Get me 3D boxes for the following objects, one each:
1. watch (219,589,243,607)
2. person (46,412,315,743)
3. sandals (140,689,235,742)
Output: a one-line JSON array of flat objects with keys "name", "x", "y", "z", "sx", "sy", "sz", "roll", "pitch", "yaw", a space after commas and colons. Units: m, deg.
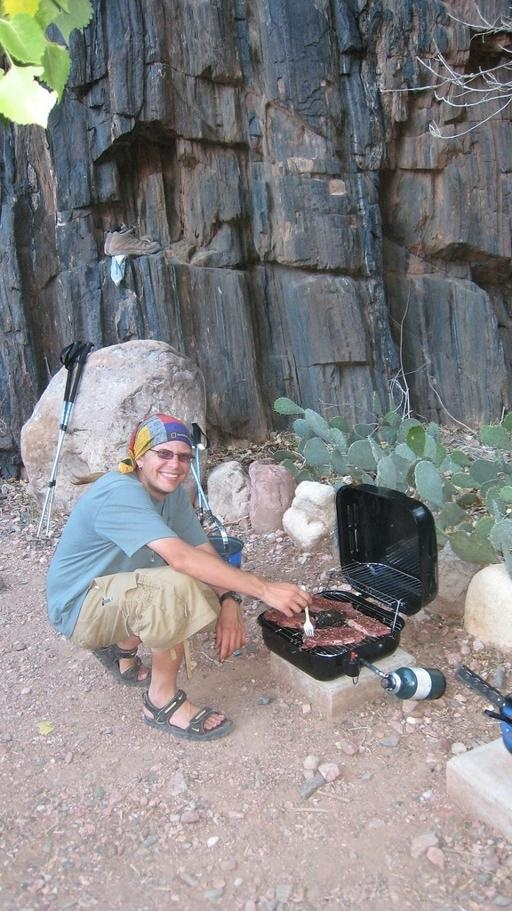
[{"name": "watch", "x": -0.103, "y": 0.562, "z": 2.824, "sx": 0.083, "sy": 0.059, "sz": 0.081, "roll": 11, "pitch": -40, "yaw": -24}, {"name": "person", "x": -0.275, "y": 0.312, "z": 2.960, "sx": 1.162, "sy": 1.350, "sz": 0.898, "roll": 3, "pitch": 15, "yaw": 19}, {"name": "sandals", "x": -0.249, "y": 0.898, "z": 2.549, "sx": 0.314, "sy": 0.148, "sz": 0.138, "roll": 6, "pitch": 19, "yaw": 27}]
